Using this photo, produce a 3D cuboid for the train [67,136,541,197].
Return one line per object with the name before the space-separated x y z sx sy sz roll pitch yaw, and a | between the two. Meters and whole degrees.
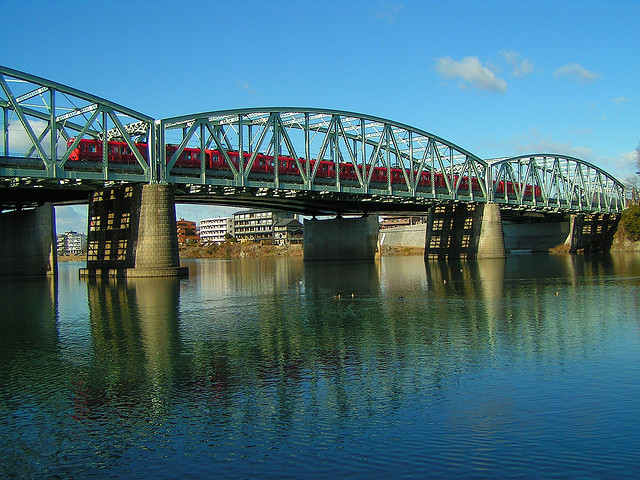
train | -1.722 -8.274 66.662 54.490 4.780 6.471 -1 1 -42
